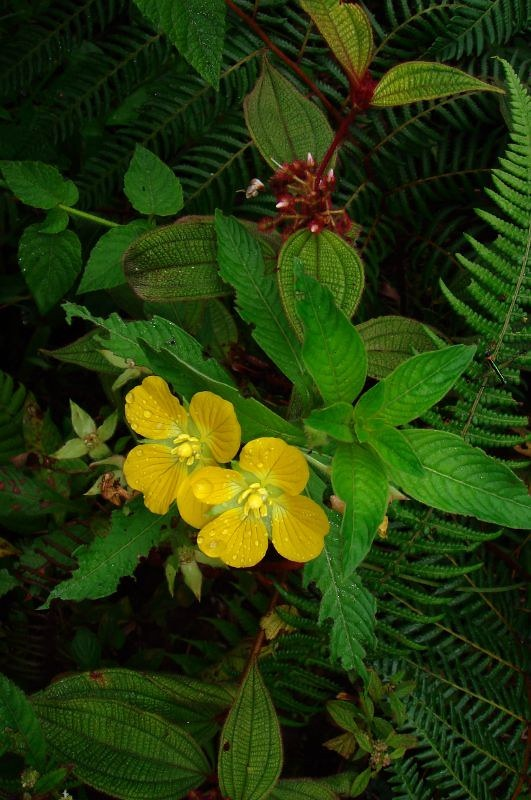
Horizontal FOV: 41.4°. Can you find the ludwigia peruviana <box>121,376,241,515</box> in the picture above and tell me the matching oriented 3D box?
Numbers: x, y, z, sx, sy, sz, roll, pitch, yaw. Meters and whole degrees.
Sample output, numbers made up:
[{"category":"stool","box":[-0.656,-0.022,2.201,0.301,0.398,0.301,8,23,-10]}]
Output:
[{"category":"ludwigia peruviana","box":[-0.148,0.074,1.536,0.280,0.285,0.079,61,26,1]}]

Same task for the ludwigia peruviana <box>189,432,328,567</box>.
[{"category":"ludwigia peruviana","box":[-0.008,0.206,1.392,0.291,0.261,0.119,21,5,-3]}]

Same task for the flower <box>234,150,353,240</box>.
[{"category":"flower","box":[0.092,-0.508,1.794,0.261,0.236,0.124,10,11,12]}]
